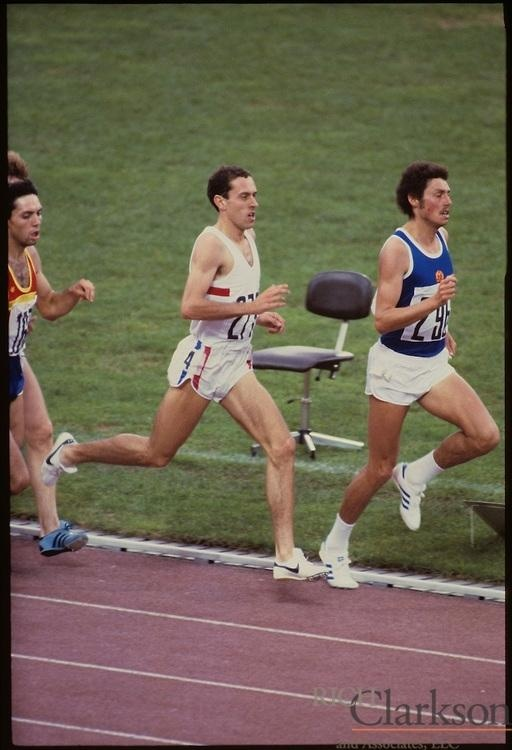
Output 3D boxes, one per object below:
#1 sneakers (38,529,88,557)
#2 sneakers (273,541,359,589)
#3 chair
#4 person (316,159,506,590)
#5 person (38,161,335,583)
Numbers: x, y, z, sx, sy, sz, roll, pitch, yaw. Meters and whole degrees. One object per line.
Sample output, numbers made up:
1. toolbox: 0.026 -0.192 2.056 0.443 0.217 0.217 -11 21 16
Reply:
1. sneakers: -0.962 0.832 5.093 0.281 0.128 0.111 -18 -16 13
2. sneakers: 0.173 0.909 4.767 0.582 0.194 0.179 1 2 18
3. chair: 0.319 -0.096 6.594 0.958 1.084 0.756 -11 13 -40
4. person: 0.770 0.049 4.756 0.764 2.094 0.707 5 8 3
5. person: -0.227 -0.046 4.782 0.577 1.872 1.222 -2 10 -41
